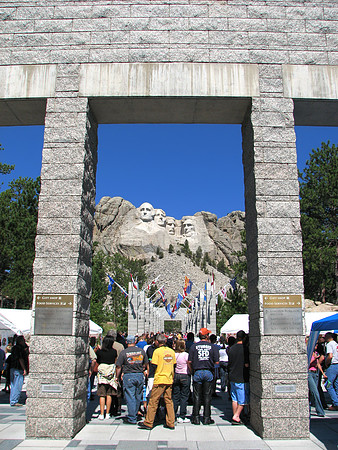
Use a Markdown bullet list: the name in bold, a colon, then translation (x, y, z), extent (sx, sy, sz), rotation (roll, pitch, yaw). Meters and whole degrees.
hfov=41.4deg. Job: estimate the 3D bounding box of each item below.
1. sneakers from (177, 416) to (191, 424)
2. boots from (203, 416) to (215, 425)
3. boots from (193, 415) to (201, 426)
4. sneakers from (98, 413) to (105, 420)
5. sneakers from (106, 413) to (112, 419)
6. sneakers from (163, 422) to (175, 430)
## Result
- **sneakers**: translation (0.293, 3.962, 9.116), extent (0.255, 0.107, 0.098), rotation (2, 8, -5)
- **boots**: translation (0.784, 3.830, 8.834), extent (0.116, 0.159, 0.234), rotation (-2, -4, 24)
- **boots**: translation (0.515, 3.866, 8.892), extent (0.198, 0.178, 0.129), rotation (-8, -19, 19)
- **sneakers**: translation (-1.403, 3.908, 9.147), extent (0.068, 0.074, 0.181), rotation (6, -12, -12)
- **sneakers**: translation (-1.237, 3.940, 9.261), extent (0.078, 0.118, 0.197), rotation (1, -6, 6)
- **sneakers**: translation (-0.013, 3.819, 8.487), extent (0.090, 0.097, 0.240), rotation (7, -4, -33)
